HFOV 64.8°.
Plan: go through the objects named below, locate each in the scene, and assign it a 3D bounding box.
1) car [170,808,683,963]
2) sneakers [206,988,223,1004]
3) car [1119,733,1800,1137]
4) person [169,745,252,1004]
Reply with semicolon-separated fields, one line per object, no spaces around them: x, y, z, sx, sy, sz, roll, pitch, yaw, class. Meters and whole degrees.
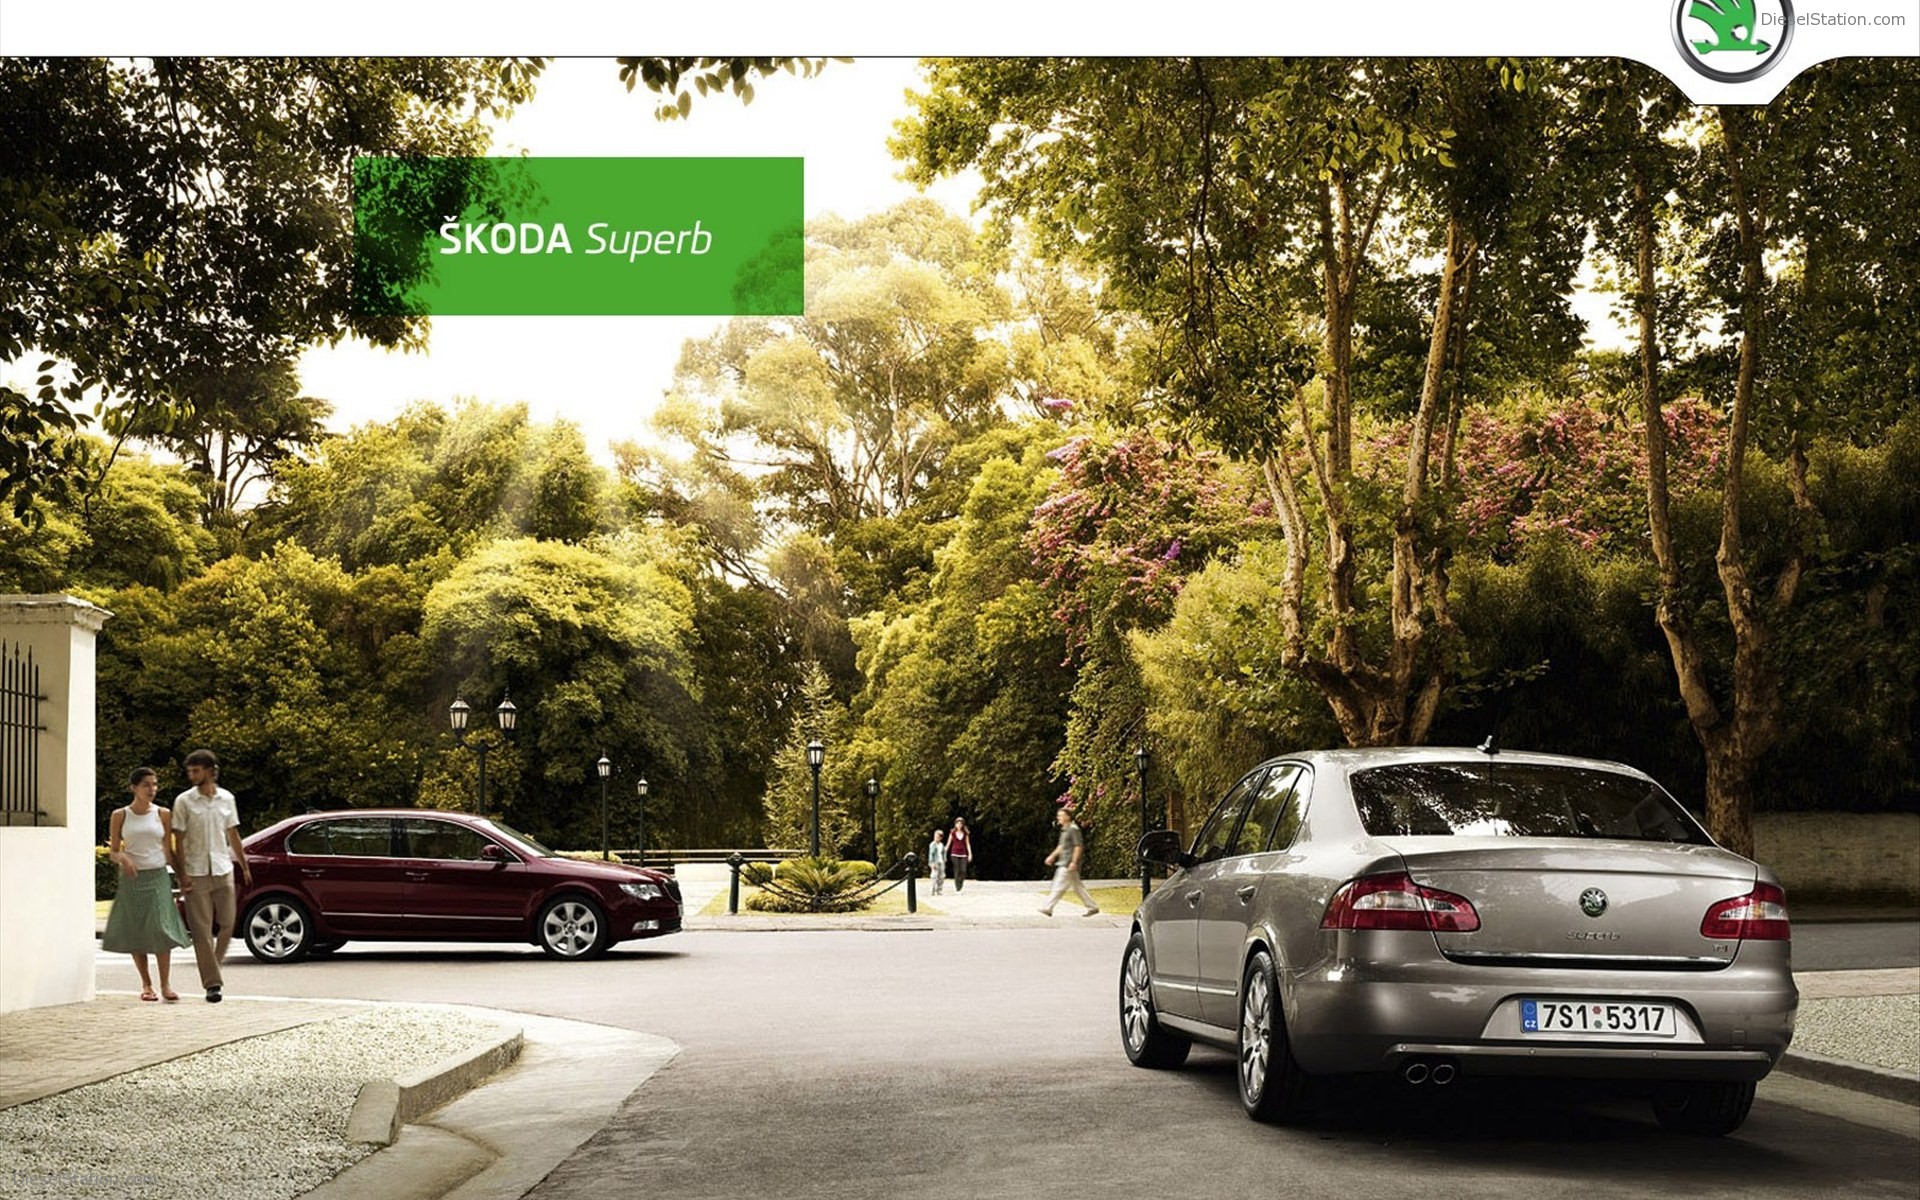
-7.503;4.297;22.724;5.891;1.723;2.469;0;-9;-4;car
-8.053;4.313;16.446;0.188;0.175;0.115;2;1;-11;sneakers
3.319;2.318;10.491;4.283;2.595;2.152;-4;-7;26;car
-8.236;3.034;16.619;0.676;2.672;0.928;2;-6;-21;person
